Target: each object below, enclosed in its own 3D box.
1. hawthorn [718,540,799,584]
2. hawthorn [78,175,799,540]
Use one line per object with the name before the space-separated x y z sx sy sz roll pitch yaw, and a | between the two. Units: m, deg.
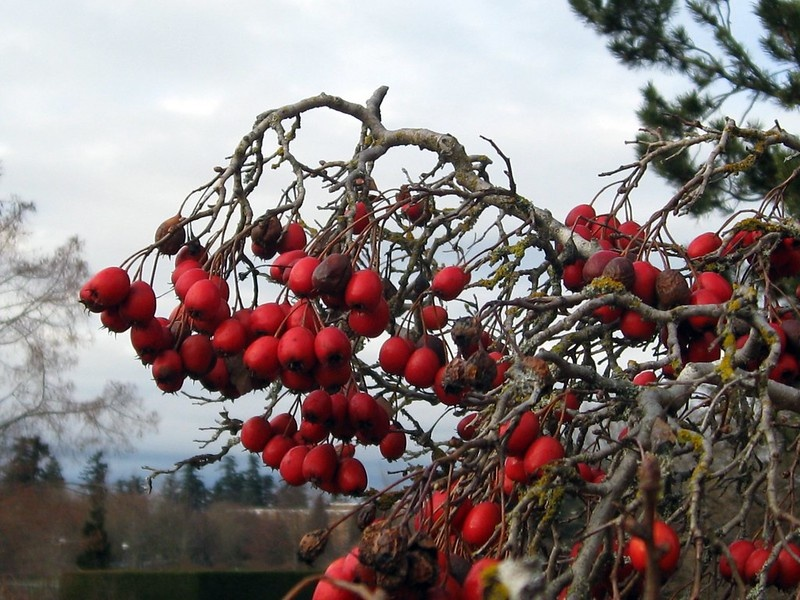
hawthorn | 1.928 1.415 7.138 0.399 0.220 0.276 5 -38 6
hawthorn | 0.295 0.179 7.176 2.152 1.315 2.844 -4 4 -37
